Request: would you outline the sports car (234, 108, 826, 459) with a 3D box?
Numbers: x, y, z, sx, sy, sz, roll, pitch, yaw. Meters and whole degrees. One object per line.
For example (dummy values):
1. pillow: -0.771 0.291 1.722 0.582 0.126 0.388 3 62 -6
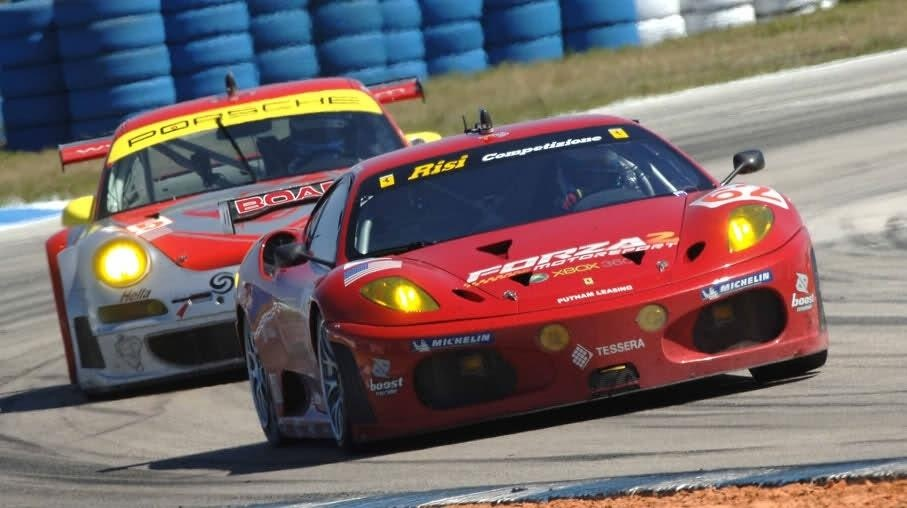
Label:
1. sports car: 0.590 0.170 13.082 4.968 2.726 1.742 -10 2 -3
